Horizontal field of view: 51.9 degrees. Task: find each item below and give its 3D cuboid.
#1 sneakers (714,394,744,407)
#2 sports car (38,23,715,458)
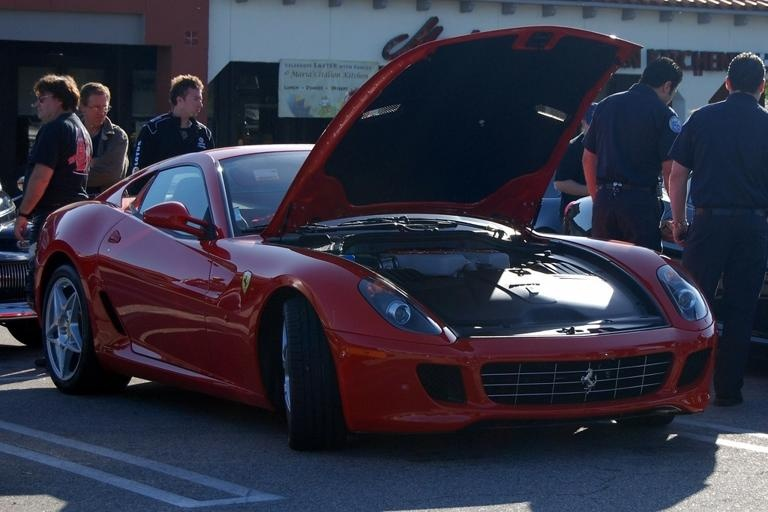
[{"bbox_3d":[2.557,1.070,5.849,0.229,0.089,0.075,10,16,-29],"label":"sneakers"},{"bbox_3d":[-0.320,-0.189,5.578,2.544,1.882,4.215,2,0,-41],"label":"sports car"}]
